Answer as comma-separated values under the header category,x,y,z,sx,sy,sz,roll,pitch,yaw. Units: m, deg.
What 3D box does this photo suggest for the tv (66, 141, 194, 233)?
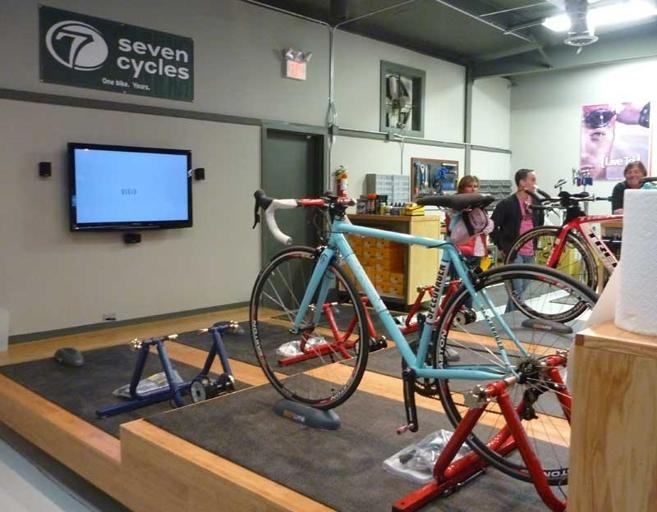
category,x,y,z,sx,sy,sz,roll,pitch,yaw
tv,-2.062,-0.712,5.049,0.970,0.665,0.099,-7,9,-40

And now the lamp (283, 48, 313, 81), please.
category,x,y,z,sx,sy,sz,roll,pitch,yaw
lamp,-0.392,-2.470,6.336,0.222,0.382,0.328,8,15,36

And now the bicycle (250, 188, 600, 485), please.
category,x,y,z,sx,sy,sz,roll,pitch,yaw
bicycle,0.367,0.292,2.538,2.087,1.182,0.611,5,6,41
